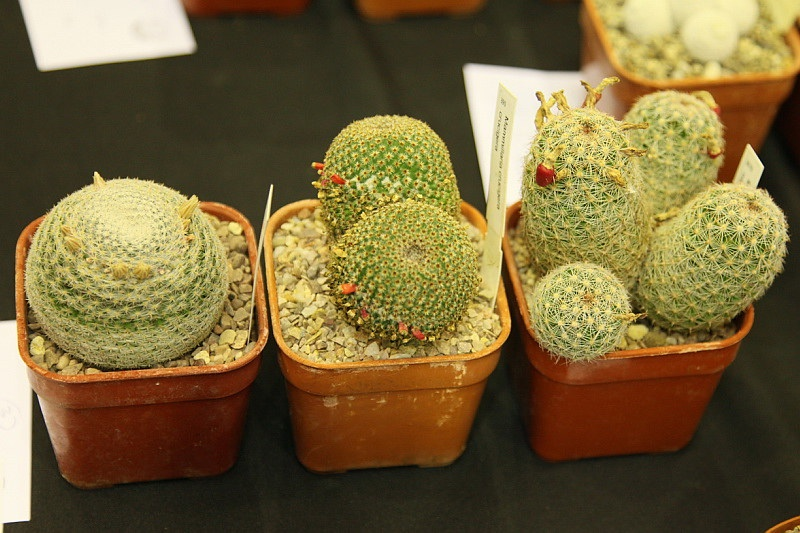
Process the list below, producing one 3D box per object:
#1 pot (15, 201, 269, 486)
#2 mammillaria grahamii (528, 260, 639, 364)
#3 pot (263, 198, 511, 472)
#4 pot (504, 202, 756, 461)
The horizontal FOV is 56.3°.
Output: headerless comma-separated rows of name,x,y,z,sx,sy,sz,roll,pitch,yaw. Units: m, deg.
pot,-0.845,0.254,2.636,0.738,0.584,0.898,-2,44,-10
mammillaria grahamii,0.553,0.133,2.329,0.304,0.285,0.285,-13,36,-19
pot,-0.061,0.147,2.460,0.701,0.582,0.829,-1,45,-6
pot,0.677,0.251,2.501,0.614,0.509,0.786,-4,40,-5
